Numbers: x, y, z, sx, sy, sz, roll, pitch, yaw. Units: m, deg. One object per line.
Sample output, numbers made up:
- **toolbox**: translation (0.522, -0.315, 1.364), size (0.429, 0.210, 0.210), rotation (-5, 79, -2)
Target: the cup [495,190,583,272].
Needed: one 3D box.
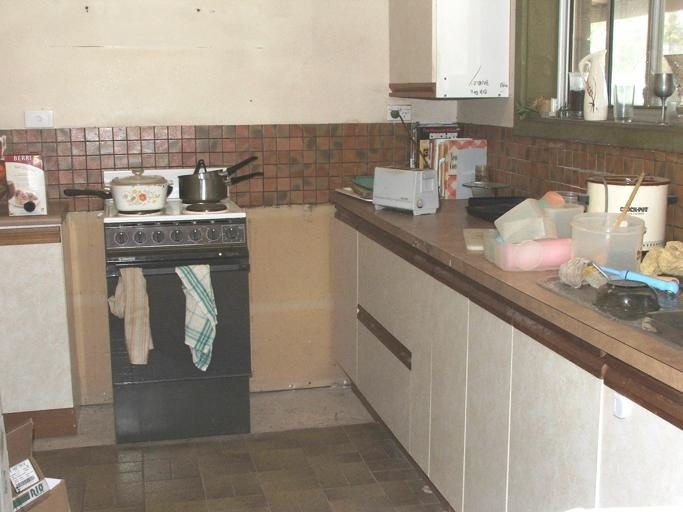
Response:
- **cup**: translation (0.656, -0.071, 2.075), size (0.259, 0.220, 0.194), rotation (0, 14, 13)

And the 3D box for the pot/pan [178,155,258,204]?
- **pot/pan**: translation (-0.659, -0.420, 3.276), size (0.418, 0.223, 0.238), rotation (-2, 6, -9)

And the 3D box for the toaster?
- **toaster**: translation (0.311, -0.343, 3.110), size (0.188, 0.228, 0.364), rotation (-9, 16, -38)

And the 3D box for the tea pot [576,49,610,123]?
- **tea pot**: translation (1.098, -0.727, 2.583), size (0.111, 0.285, 0.141), rotation (2, 15, 20)

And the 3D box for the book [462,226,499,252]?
- **book**: translation (0.538, -0.067, 2.329), size (0.086, 0.032, 0.155), rotation (-1, 11, -5)

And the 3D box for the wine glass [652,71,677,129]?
- **wine glass**: translation (1.242, -0.606, 2.304), size (0.081, 0.185, 0.176), rotation (3, 16, 26)

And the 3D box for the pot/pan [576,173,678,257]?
- **pot/pan**: translation (1.027, -0.110, 2.149), size (0.279, 0.248, 0.248), rotation (-8, -8, 3)

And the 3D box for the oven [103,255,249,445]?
- **oven**: translation (-0.879, 0.476, 3.500), size (0.874, 1.022, 0.778), rotation (-3, 3, -12)

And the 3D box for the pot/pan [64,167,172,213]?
- **pot/pan**: translation (-1.161, -0.332, 3.159), size (0.428, 0.162, 0.288), rotation (-2, 5, -9)

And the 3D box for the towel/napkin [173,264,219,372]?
- **towel/napkin**: translation (-0.742, 0.321, 3.117), size (0.163, 0.548, 0.111), rotation (-8, 15, -18)

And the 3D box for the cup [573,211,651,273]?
- **cup**: translation (0.826, -0.049, 1.881), size (0.194, 0.162, 0.192), rotation (-1, 17, 0)

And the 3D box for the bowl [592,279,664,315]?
- **bowl**: translation (0.789, 0.105, 1.626), size (0.106, 0.040, 0.106), rotation (0, 13, 0)

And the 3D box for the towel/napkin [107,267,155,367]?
- **towel/napkin**: translation (-1.069, 0.304, 3.037), size (0.186, 0.489, 0.099), rotation (-9, 15, -21)
